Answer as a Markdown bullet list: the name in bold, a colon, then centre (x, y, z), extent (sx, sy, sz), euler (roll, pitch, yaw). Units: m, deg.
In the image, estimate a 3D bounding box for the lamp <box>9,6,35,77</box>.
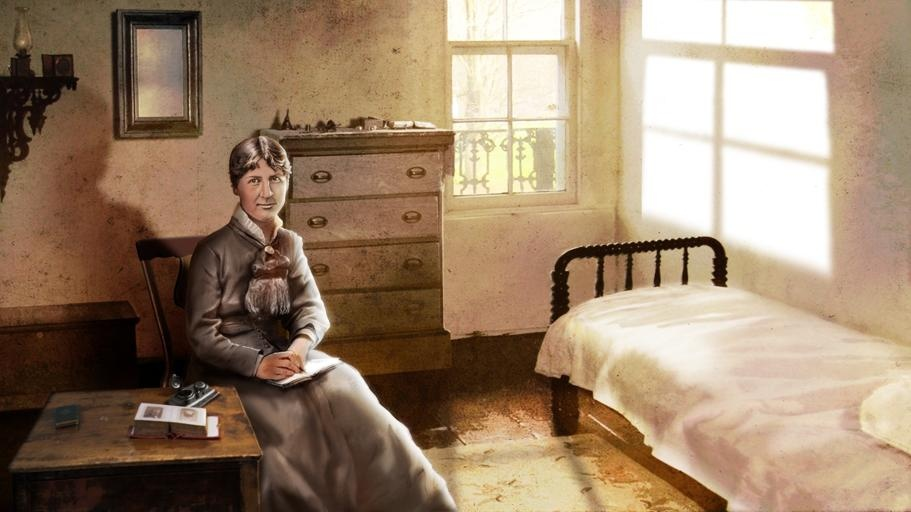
- **lamp**: centre (-3.311, -1.628, 5.288), extent (0.202, 0.528, 0.259), euler (-8, 13, -27)
